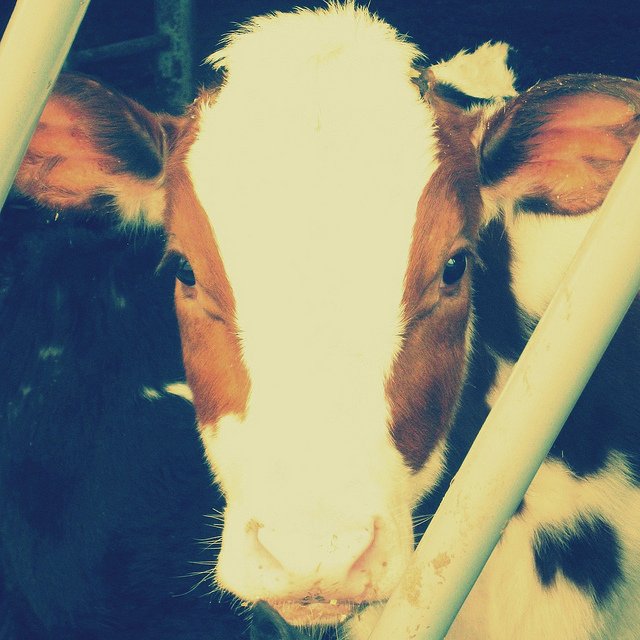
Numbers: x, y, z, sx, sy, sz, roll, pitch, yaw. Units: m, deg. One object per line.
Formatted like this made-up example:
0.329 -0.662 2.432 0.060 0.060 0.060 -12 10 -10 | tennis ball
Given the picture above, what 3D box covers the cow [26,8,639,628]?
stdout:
0.052 -0.001 3.185 1.373 1.280 1.055 -4 30 -13 | cow
